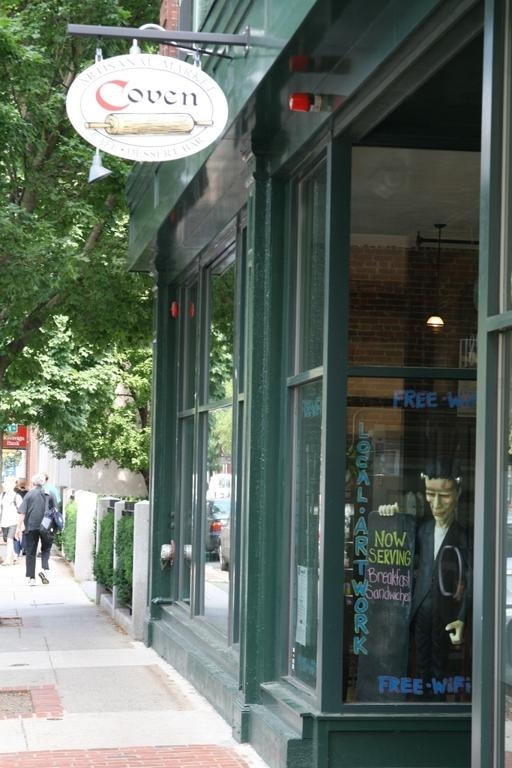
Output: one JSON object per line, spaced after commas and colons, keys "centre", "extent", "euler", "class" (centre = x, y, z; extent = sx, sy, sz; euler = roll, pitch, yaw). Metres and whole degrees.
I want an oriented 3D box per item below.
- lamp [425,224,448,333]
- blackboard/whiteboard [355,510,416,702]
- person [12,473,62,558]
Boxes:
{"centre": [1.023, -0.609, 6.030], "extent": [0.112, 0.621, 0.077], "euler": [3, -4, -7], "class": "lamp"}
{"centre": [0.698, 1.183, 5.675], "extent": [0.411, 0.981, 0.111], "euler": [5, -5, -36], "class": "blackboard/whiteboard"}
{"centre": [-3.438, 2.313, 16.934], "extent": [0.674, 1.697, 1.298], "euler": [3, -4, -12], "class": "person"}
